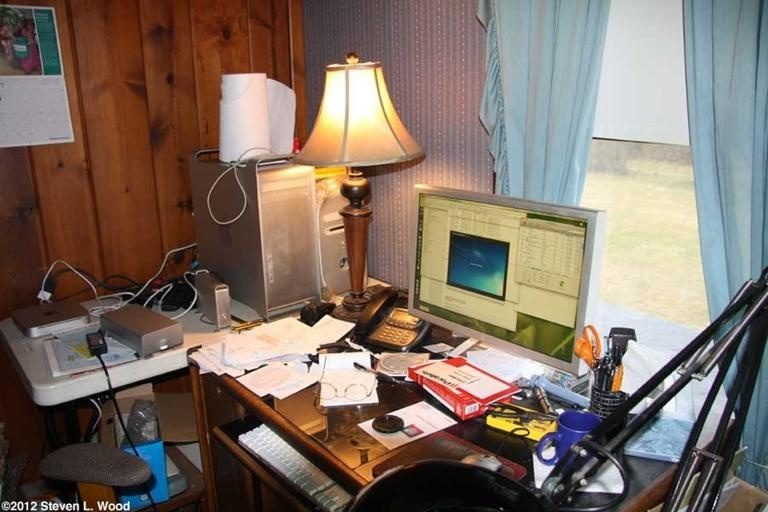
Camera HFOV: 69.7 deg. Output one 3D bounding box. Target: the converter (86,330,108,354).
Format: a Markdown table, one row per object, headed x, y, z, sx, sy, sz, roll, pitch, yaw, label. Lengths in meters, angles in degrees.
| x | y | z | sx | sy | sz | roll | pitch | yaw | label |
| --- | --- | --- | --- | --- | --- | --- | --- | --- | --- |
| -0.986 | 0.299 | 1.885 | 0.052 | 0.040 | 0.089 | -13 | 46 | -35 | converter |

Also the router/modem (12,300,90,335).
| x | y | z | sx | sy | sz | roll | pitch | yaw | label |
| --- | --- | --- | --- | --- | --- | --- | --- | --- | --- |
| -1.278 | 0.239 | 2.099 | 0.261 | 0.047 | 0.258 | -3 | 17 | -22 | router/modem |

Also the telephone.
| x | y | z | sx | sy | sz | roll | pitch | yaw | label |
| --- | --- | --- | --- | --- | --- | --- | --- | --- | --- |
| 0.043 | 0.236 | 1.986 | 0.220 | 0.114 | 0.281 | 12 | 22 | 26 | telephone |

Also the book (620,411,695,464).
| x | y | z | sx | sy | sz | roll | pitch | yaw | label |
| --- | --- | --- | --- | --- | --- | --- | --- | --- | --- |
| 0.746 | 0.494 | 1.499 | 0.121 | 0.048 | 0.206 | 15 | 24 | 36 | book |

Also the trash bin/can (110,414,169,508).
| x | y | z | sx | sy | sz | roll | pitch | yaw | label |
| --- | --- | --- | --- | --- | --- | --- | --- | --- | --- |
| -0.845 | 0.714 | 1.890 | 0.112 | 0.194 | 0.334 | -8 | 33 | -22 | trash bin/can |

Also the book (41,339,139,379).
| x | y | z | sx | sy | sz | roll | pitch | yaw | label |
| --- | --- | --- | --- | --- | --- | --- | --- | --- | --- |
| -1.023 | 0.335 | 1.916 | 0.254 | 0.033 | 0.273 | -12 | 23 | -32 | book |

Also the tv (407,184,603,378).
| x | y | z | sx | sy | sz | roll | pitch | yaw | label |
| --- | --- | --- | --- | --- | --- | --- | --- | --- | --- |
| 0.342 | 0.048 | 1.769 | 0.670 | 0.477 | 0.094 | 15 | 22 | 43 | tv |

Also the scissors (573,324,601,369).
| x | y | z | sx | sy | sz | roll | pitch | yaw | label |
| --- | --- | --- | --- | --- | --- | --- | --- | --- | --- |
| 0.562 | 0.247 | 1.544 | 0.075 | 0.103 | 0.072 | -4 | 6 | -27 | scissors |

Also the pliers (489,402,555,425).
| x | y | z | sx | sy | sz | roll | pitch | yaw | label |
| --- | --- | --- | --- | --- | --- | --- | --- | --- | --- |
| 0.385 | 0.448 | 1.577 | 0.195 | 0.033 | 0.062 | 0 | 21 | 21 | pliers |
